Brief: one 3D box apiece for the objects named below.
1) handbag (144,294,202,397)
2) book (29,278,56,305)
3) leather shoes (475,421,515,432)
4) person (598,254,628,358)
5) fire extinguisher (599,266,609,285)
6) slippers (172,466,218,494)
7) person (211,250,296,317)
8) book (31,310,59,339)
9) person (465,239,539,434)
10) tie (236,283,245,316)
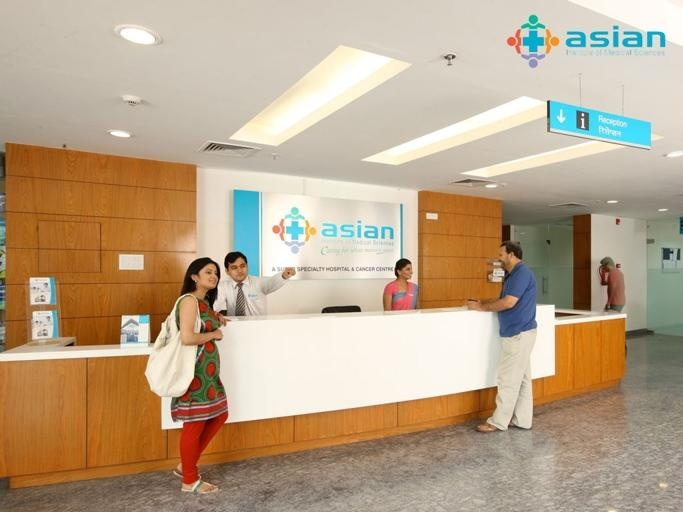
[{"bbox_3d":[-1.415,0.768,4.036,0.362,0.886,0.267,1,4,16],"label":"handbag"},{"bbox_3d":[-2.951,0.354,4.761,0.246,0.303,0.097,-1,-2,-24],"label":"book"},{"bbox_3d":[1.746,1.958,5.520,0.412,0.111,0.163,8,-12,1],"label":"leather shoes"},{"bbox_3d":[6.255,0.706,11.247,0.578,1.368,2.189,2,4,30],"label":"person"},{"bbox_3d":[6.394,0.474,11.811,0.322,0.448,0.136,-7,4,-43],"label":"fire extinguisher"},{"bbox_3d":[-1.307,1.970,4.261,0.482,0.200,0.166,0,-3,2],"label":"slippers"},{"bbox_3d":[-1.136,0.321,6.110,0.922,0.944,0.480,-4,-5,-40],"label":"person"},{"bbox_3d":[-2.844,0.661,4.623,0.271,0.334,0.044,-1,-1,-35],"label":"book"},{"bbox_3d":[1.930,0.911,5.618,0.814,2.156,0.451,-1,4,-22],"label":"person"},{"bbox_3d":[-1.112,0.473,5.309,0.088,0.347,0.098,2,4,32],"label":"tie"}]
